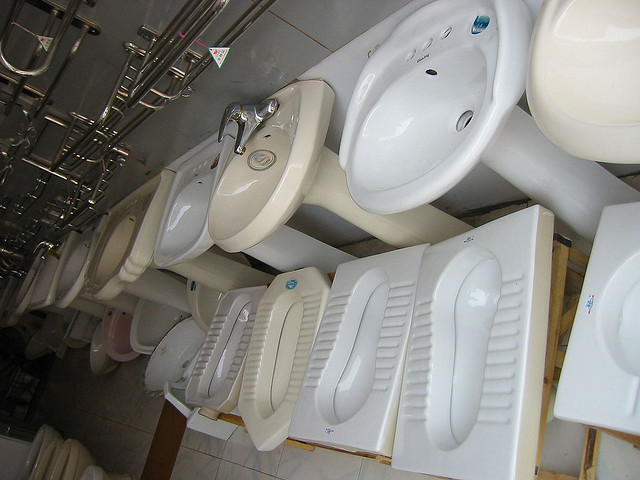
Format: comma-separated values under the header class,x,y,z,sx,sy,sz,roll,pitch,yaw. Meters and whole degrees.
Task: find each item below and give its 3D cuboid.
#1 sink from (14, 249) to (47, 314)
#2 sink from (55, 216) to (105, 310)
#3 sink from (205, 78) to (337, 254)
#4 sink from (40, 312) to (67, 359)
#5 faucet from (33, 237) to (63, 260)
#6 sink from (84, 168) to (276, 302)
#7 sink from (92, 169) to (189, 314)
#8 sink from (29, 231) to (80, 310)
class,x,y,z,sx,sy,sz,roll,pitch,yaw
sink,-2.366,0.365,3.464,0.157,0.531,0.341,21,-14,-40
sink,-1.607,0.126,2.836,0.129,0.611,0.400,22,-25,-34
sink,-0.160,-0.220,1.324,0.125,0.603,0.418,20,-7,-19
sink,-3.212,1.099,5.117,0.199,0.557,0.382,13,-10,-10
faucet,-2.209,0.062,3.465,0.087,0.137,0.116,24,21,-4
sink,-0.719,0.079,2.336,0.706,1.059,0.316,-10,-27,43
sink,-0.913,0.098,2.473,0.214,0.853,0.586,22,-17,-36
sink,-1.961,0.227,3.147,0.127,0.536,0.537,16,-20,-31
